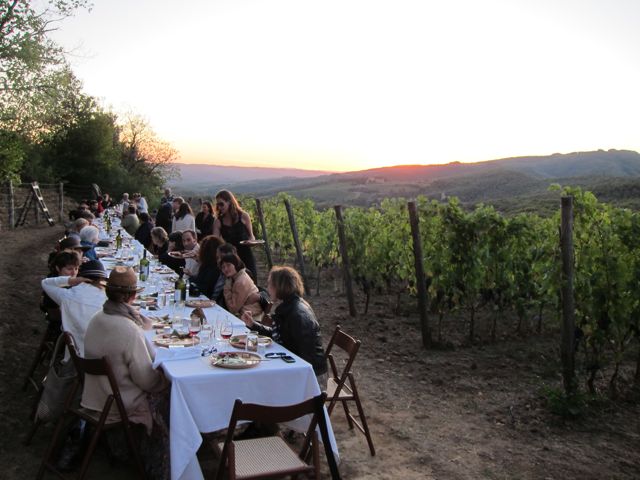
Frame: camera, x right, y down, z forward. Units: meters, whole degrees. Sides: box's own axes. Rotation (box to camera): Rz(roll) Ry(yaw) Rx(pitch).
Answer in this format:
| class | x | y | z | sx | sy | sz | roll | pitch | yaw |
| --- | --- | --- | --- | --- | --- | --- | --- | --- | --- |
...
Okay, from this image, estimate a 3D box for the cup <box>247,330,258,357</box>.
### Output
| class | x | y | z | sx | sy | sz | roll | pitch | yaw |
| --- | --- | --- | --- | --- | --- | --- | --- | --- | --- |
| cup | -0.569 | 0.875 | 3.617 | 0.109 | 0.186 | 0.105 | 2 | 2 | 0 |
